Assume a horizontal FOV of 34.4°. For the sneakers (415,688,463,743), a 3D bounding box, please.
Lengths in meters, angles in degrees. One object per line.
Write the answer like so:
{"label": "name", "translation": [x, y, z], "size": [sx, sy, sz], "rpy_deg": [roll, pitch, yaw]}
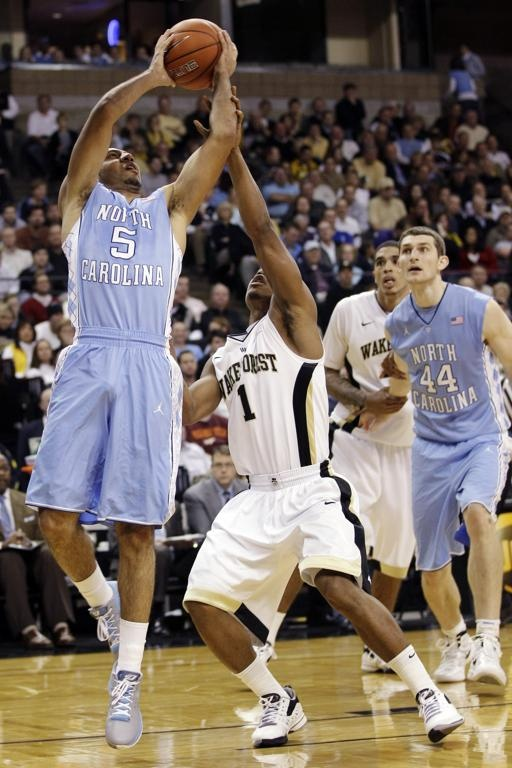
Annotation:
{"label": "sneakers", "translation": [0.475, 0.872, 2.211], "size": [0.088, 0.068, 0.193], "rpy_deg": [40, 1, 3]}

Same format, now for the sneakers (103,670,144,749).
{"label": "sneakers", "translation": [-0.338, 0.836, 2.154], "size": [0.082, 0.092, 0.230], "rpy_deg": [-2, 25, -4]}

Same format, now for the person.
{"label": "person", "translation": [0.024, 0.047, 2.594], "size": [1.039, 2.423, 1.553], "rpy_deg": [2, 8, 39]}

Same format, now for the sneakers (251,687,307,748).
{"label": "sneakers", "translation": [0.083, 0.967, 2.403], "size": [0.081, 0.104, 0.226], "rpy_deg": [-27, -11, 15]}
